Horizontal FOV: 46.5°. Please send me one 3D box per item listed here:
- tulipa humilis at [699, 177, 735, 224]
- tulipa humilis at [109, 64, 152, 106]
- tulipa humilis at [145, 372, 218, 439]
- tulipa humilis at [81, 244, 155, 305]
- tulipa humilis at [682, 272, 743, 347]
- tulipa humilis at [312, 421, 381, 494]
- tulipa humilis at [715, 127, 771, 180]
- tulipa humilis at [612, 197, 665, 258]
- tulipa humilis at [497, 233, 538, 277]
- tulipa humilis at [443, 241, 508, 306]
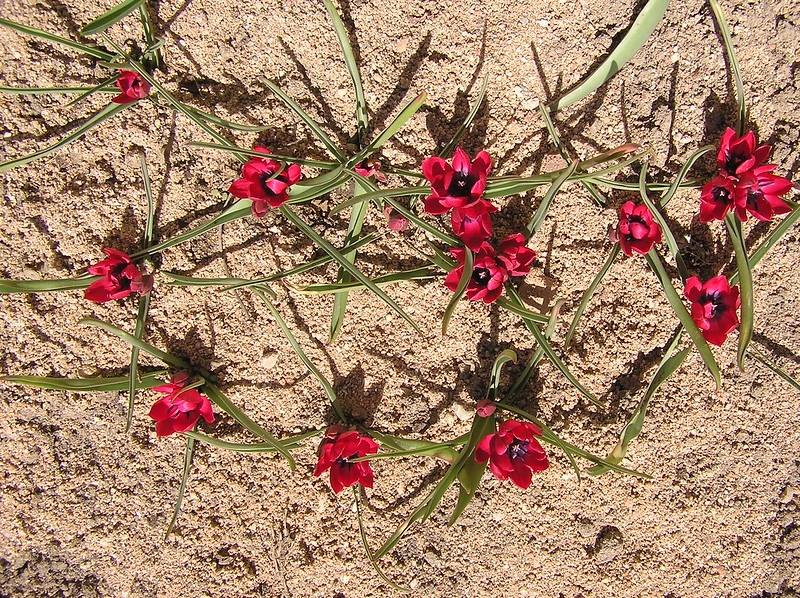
[{"bbox_3d":[1.351,-0.422,3.963,0.160,0.160,0.130,20,42,24],"label":"tulipa humilis"},{"bbox_3d":[-1.167,-0.902,4.017,0.104,0.171,0.098,-21,1,7],"label":"tulipa humilis"},{"bbox_3d":[-0.971,0.468,4.071,0.276,0.282,0.175,14,-10,-31],"label":"tulipa humilis"},{"bbox_3d":[-1.224,-0.080,4.055,0.273,0.223,0.129,13,-9,-22],"label":"tulipa humilis"},{"bbox_3d":[1.335,0.041,3.972,0.221,0.297,0.119,-4,6,-10],"label":"tulipa humilis"},{"bbox_3d":[-0.235,0.698,4.053,0.217,0.298,0.174,-3,26,2],"label":"tulipa humilis"},{"bbox_3d":[1.448,-0.593,3.925,0.197,0.197,0.107,6,-8,17],"label":"tulipa humilis"},{"bbox_3d":[1.028,-0.304,4.037,0.161,0.244,0.103,-5,2,17],"label":"tulipa humilis"},{"bbox_3d":[0.502,-0.192,3.993,0.124,0.209,0.103,20,-17,-23],"label":"tulipa humilis"},{"bbox_3d":[0.323,-0.105,3.941,0.201,0.262,0.128,-31,-2,29],"label":"tulipa humilis"}]
